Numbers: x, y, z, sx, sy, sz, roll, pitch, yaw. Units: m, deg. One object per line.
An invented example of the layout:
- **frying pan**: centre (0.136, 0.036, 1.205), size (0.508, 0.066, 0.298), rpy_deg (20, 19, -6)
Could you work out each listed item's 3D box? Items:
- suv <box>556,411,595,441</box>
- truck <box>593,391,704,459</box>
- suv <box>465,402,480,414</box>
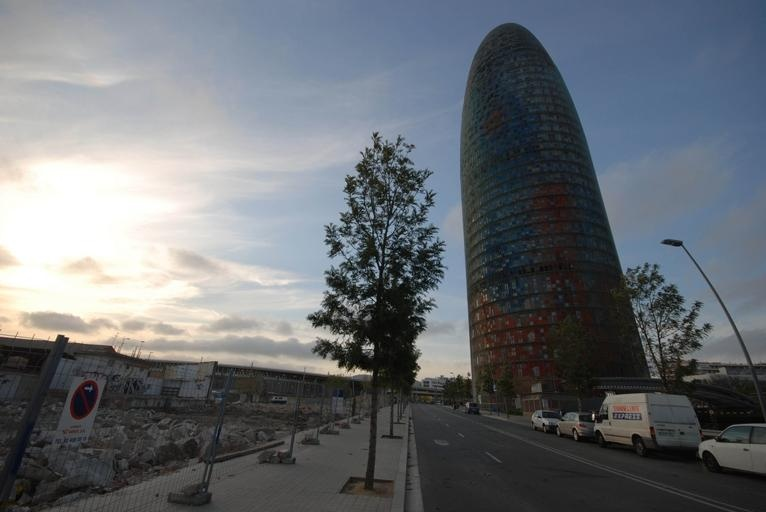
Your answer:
- **suv**: centre (14.804, 12.907, 30.657), size (1.859, 2.006, 5.158), rpy_deg (0, -22, 4)
- **truck**: centre (16.367, 10.771, 26.478), size (3.897, 3.094, 6.482), rpy_deg (6, -20, -5)
- **suv**: centre (13.919, 24.122, 63.443), size (1.854, 1.449, 2.926), rpy_deg (0, -4, 4)
